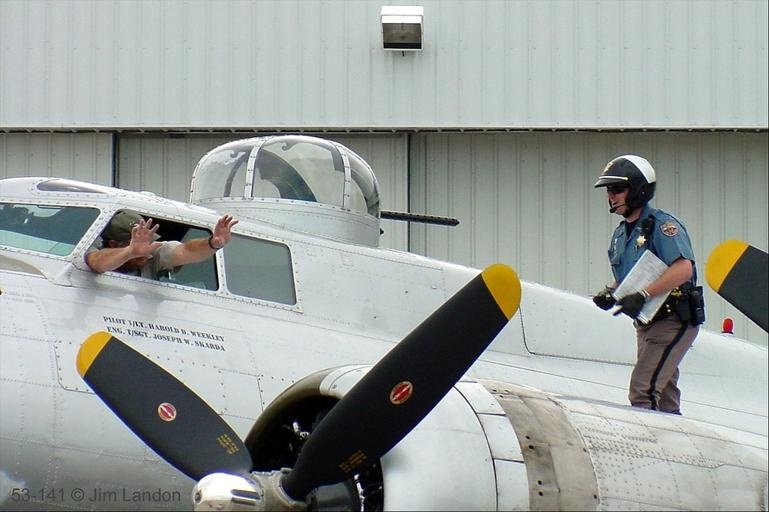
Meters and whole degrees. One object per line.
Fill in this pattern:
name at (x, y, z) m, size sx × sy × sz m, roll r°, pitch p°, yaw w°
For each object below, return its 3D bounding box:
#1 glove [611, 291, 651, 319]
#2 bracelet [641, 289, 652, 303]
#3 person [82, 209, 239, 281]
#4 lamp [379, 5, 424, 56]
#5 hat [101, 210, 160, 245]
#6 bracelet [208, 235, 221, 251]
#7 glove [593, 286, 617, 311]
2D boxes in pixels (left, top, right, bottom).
glove at (4.034, 0.807, 24.291) m, size 0.387 × 0.519 × 0.156 m, roll 26°, pitch -11°, yaw 25°
bracelet at (4.254, 0.674, 24.283) m, size 0.205 × 0.186 × 0.205 m, roll 1°, pitch 11°, yaw -7°
person at (-3.654, -0.082, 23.766) m, size 1.754 × 0.679 × 1.202 m, roll 4°, pitch 7°, yaw 40°
lamp at (0.396, -4.802, 31.675) m, size 1.168 × 1.157 × 0.806 m, roll 1°, pitch 9°, yaw 4°
hat at (-4.108, -0.469, 24.120) m, size 0.772 × 0.430 × 0.513 m, roll -13°, pitch 19°, yaw -11°
bracelet at (-2.702, -0.190, 23.810) m, size 0.248 × 0.199 × 0.167 m, roll 5°, pitch 2°, yaw 1°
glove at (3.661, 0.714, 24.653) m, size 0.369 × 0.364 × 0.314 m, roll 27°, pitch 0°, yaw 19°
